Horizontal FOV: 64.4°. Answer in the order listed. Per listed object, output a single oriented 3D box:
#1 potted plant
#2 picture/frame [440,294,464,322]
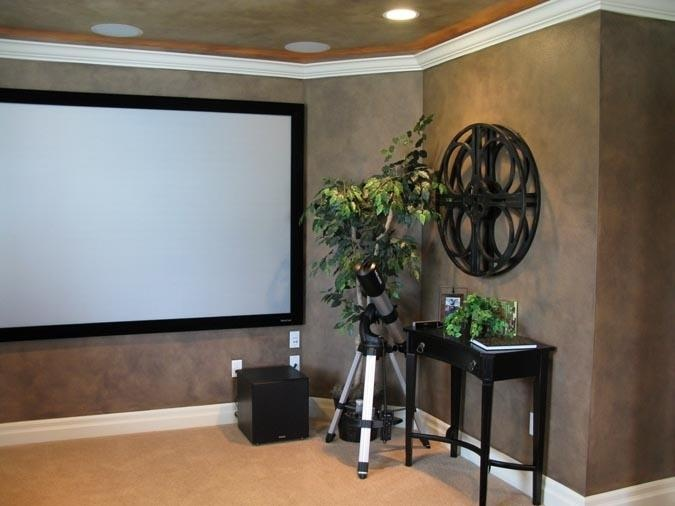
[{"bbox_3d":[0.240,0.193,4.164,0.745,2.435,0.974,-5,-5,15],"label":"potted plant"},{"bbox_3d":[0.799,0.378,3.726,0.170,0.259,0.024,2,0,8],"label":"picture/frame"}]
